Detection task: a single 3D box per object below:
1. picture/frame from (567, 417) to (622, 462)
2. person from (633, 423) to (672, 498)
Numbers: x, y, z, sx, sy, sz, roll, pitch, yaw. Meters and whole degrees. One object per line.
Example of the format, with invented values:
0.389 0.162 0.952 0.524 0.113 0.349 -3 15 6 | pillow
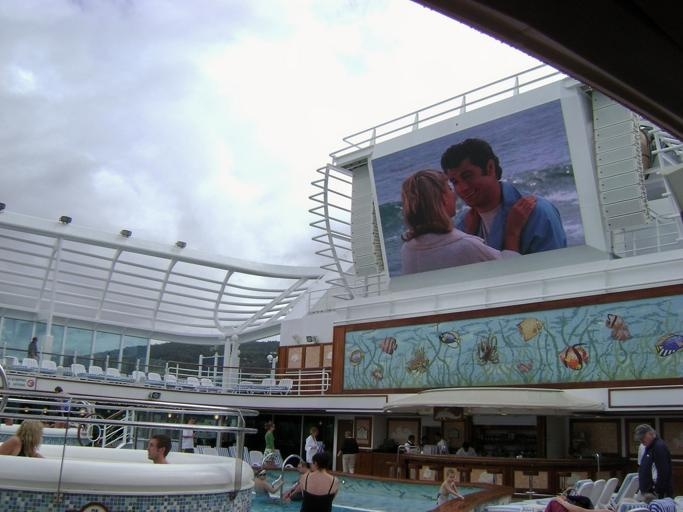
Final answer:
7.650 5.514 15.936 0.238 0.960 1.626 21 -22 -33 | picture/frame
4.315 2.850 7.357 0.436 0.968 0.803 -10 -21 24 | person
